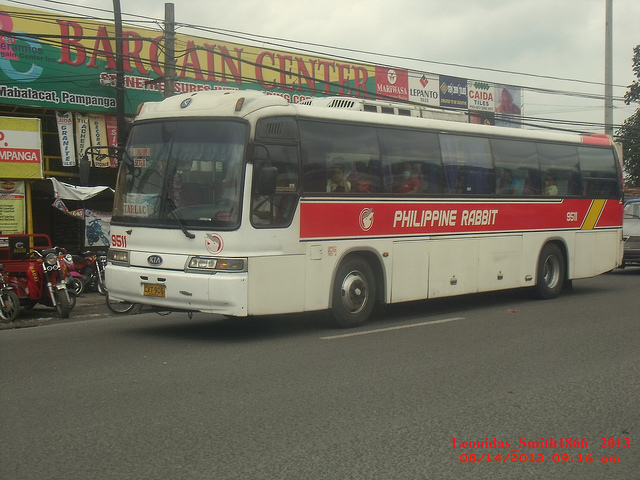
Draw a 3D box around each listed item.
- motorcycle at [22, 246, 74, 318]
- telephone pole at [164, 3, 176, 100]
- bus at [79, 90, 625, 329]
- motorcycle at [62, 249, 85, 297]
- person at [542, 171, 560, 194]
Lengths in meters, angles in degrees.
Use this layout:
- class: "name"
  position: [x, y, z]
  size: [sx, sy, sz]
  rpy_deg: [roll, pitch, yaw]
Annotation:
- class: "motorcycle"
  position: [-5.471, 0.895, 11.702]
  size: [0.847, 1.421, 1.069]
  rpy_deg: [-1, 3, -28]
- class: "telephone pole"
  position: [-4.286, -5.467, 16.605]
  size: [0.299, 2.848, 1.067]
  rpy_deg: [-1, 2, -15]
- class: "bus"
  position: [2.109, -0.567, 12.473]
  size: [12.633, 4.073, 2.766]
  rpy_deg: [-2, 3, -36]
- class: "motorcycle"
  position: [-6.061, 0.782, 14.448]
  size: [0.737, 1.081, 1.670]
  rpy_deg: [1, 9, -20]
- class: "person"
  position: [5.319, -1.325, 13.538]
  size: [0.422, 0.610, 0.729]
  rpy_deg: [12, 11, 28]
